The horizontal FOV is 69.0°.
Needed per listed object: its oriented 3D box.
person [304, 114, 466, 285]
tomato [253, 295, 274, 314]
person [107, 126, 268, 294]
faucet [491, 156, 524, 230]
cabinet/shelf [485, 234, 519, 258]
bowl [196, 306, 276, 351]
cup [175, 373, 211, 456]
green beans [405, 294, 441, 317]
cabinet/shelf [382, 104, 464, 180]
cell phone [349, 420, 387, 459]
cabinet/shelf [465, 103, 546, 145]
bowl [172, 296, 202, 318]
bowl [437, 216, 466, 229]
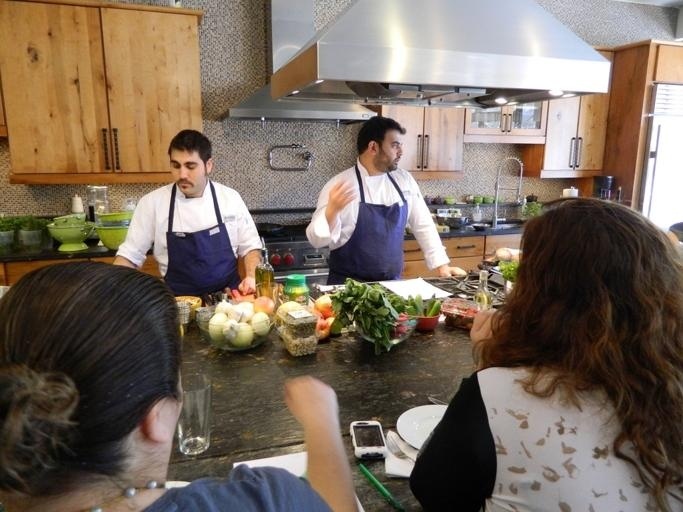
[{"bbox_3d":[0.194,-0.036,3.094,0.925,1.553,0.688,-11,25,-27],"label":"person"},{"bbox_3d":[-0.279,0.177,1.797,0.066,0.059,0.061,-3,31,-15],"label":"tomato"},{"bbox_3d":[-0.939,-0.278,3.058,0.853,1.014,0.613,-2,18,-23],"label":"person"},{"bbox_3d":[1.616,-0.666,4.816,0.165,0.819,0.309,-2,17,-20],"label":"faucet"},{"bbox_3d":[1.208,-0.089,3.789,0.239,0.136,0.122,-4,9,-19],"label":"cabinet/shelf"},{"bbox_3d":[-0.377,0.210,1.844,0.302,0.148,0.240,-5,15,-25],"label":"bowl"},{"bbox_3d":[-0.366,0.398,1.268,0.114,0.170,0.109,1,11,0],"label":"cup"},{"bbox_3d":[0.321,0.197,1.938,0.115,0.071,0.108,2,2,34],"label":"green beans"},{"bbox_3d":[0.769,-0.972,4.324,0.706,0.562,0.268,8,19,35],"label":"cabinet/shelf"},{"bbox_3d":[0.068,0.465,1.262,0.090,0.030,0.111,4,24,-2],"label":"cell phone"},{"bbox_3d":[1.434,-1.168,4.384,0.818,0.353,0.094,-6,14,-15],"label":"cabinet/shelf"},{"bbox_3d":[-0.634,0.201,2.086,0.111,0.061,0.105,1,3,0],"label":"bowl"},{"bbox_3d":[0.972,-0.295,4.346,0.183,0.061,0.116,2,6,30],"label":"bowl"}]
